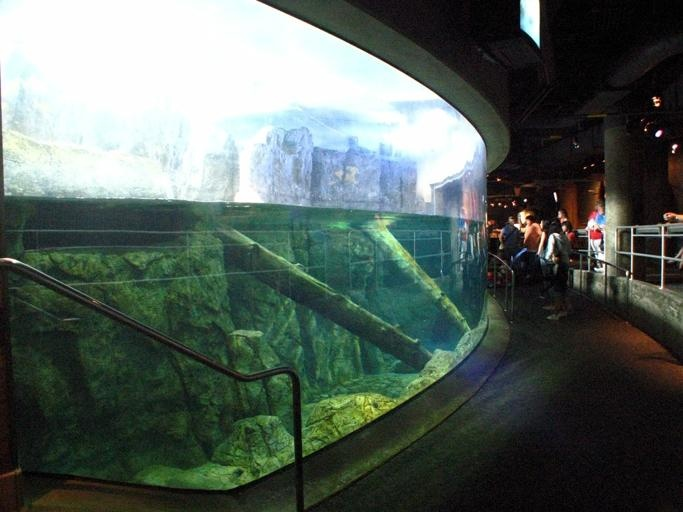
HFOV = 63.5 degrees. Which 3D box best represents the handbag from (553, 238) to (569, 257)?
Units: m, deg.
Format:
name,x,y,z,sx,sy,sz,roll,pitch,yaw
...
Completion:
name,x,y,z,sx,sy,sz,roll,pitch,yaw
handbag,4.886,-0.202,12.346,0.301,0.298,0.162,-22,-3,-41
